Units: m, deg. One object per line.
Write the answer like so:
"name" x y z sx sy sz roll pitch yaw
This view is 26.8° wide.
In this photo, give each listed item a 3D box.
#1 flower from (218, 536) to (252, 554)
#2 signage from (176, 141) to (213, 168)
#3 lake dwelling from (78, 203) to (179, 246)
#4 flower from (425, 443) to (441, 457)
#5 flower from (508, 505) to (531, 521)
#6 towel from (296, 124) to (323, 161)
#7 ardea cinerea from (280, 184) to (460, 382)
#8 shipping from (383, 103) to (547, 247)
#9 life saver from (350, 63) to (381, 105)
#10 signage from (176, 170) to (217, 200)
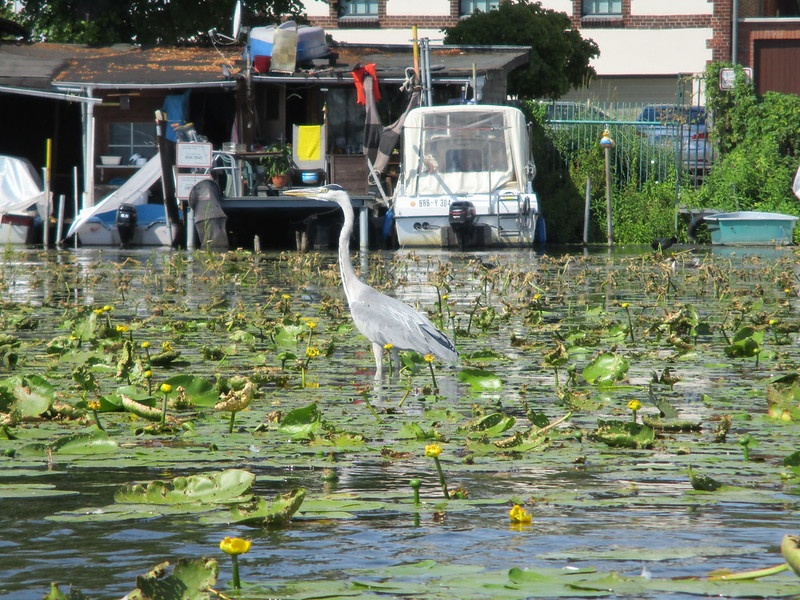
"flower" -0.989 1.489 10.199 0.172 0.122 0.170 -1 3 4
"signage" -3.358 -2.377 27.447 0.449 0.304 0.060 0 7 -2
"lake dwelling" -4.791 -1.379 29.533 1.296 0.791 1.313 0 9 -2
"flower" 0.207 0.985 11.018 0.125 0.056 0.110 -7 -10 31
"flower" 0.801 1.378 11.023 0.094 0.125 0.143 0 20 -16
"towel" -1.540 -2.705 28.917 0.585 0.679 0.116 2 16 2
"ardea cinerea" -0.225 -0.025 14.518 1.409 1.772 1.277 0 5 -4
"shipping" 1.183 -2.430 30.107 2.721 2.275 4.936 -1 12 5
"life saver" -0.523 -3.719 28.857 0.519 0.640 0.240 -1 0 17
"signage" -3.379 -1.891 27.632 0.618 0.411 0.314 -1 3 4
